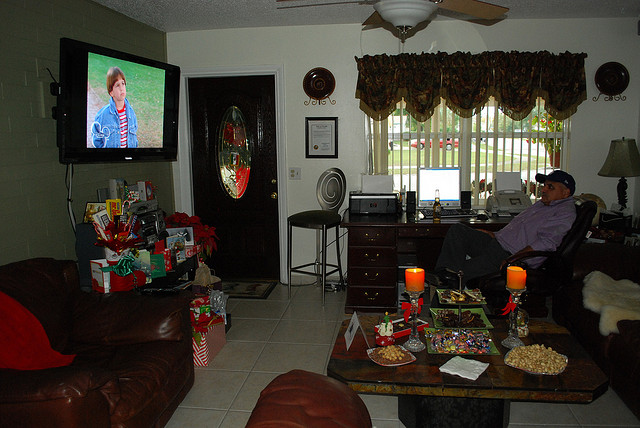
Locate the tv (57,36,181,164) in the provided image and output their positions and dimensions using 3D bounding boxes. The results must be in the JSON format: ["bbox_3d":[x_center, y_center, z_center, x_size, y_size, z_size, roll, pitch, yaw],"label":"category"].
[{"bbox_3d":[-1.811,-0.992,4.235,1.338,1.021,0.137,8,10,16],"label":"tv"}]

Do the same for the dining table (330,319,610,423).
[{"bbox_3d":[0.944,1.114,3.100,1.703,0.783,0.678,-1,8,3],"label":"dining table"}]

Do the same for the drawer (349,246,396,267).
[{"bbox_3d":[0.547,0.440,4.711,0.465,0.201,0.035,0,8,8],"label":"drawer"}]

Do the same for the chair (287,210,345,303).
[{"bbox_3d":[-0.051,0.460,5.291,0.665,0.994,0.820,-2,8,1],"label":"chair"}]

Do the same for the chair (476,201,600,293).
[{"bbox_3d":[2.102,0.333,4.406,1.016,0.909,0.637,-1,-2,24],"label":"chair"}]

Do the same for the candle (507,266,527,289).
[{"bbox_3d":[1.320,0.427,3.043,0.131,0.152,0.138,-2,1,23],"label":"candle"}]

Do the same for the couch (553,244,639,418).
[{"bbox_3d":[2.136,0.924,3.500,0.354,0.452,1.127,4,14,20],"label":"couch"}]

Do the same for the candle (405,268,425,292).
[{"bbox_3d":[0.641,0.454,3.133,0.140,0.157,0.138,-1,-1,7],"label":"candle"}]
